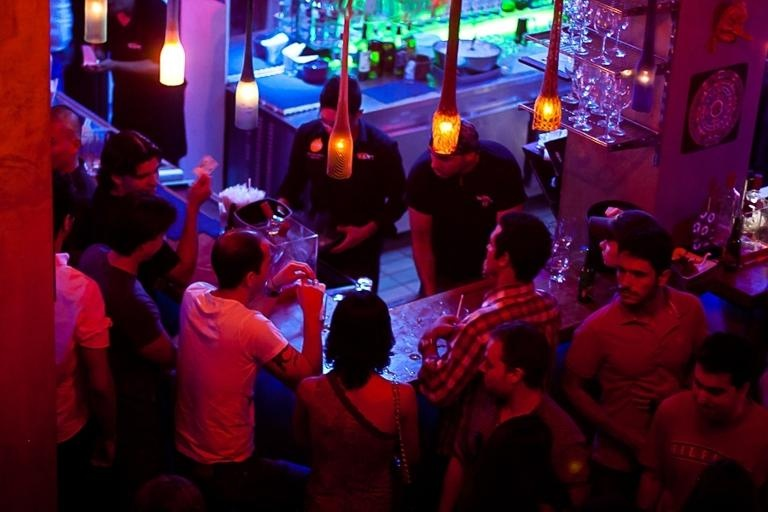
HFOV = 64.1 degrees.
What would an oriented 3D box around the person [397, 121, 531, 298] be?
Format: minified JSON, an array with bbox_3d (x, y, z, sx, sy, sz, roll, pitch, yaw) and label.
[{"bbox_3d":[0.601,-0.377,4.559,0.854,1.580,0.781,5,43,11],"label":"person"}]

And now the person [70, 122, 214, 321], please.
[{"bbox_3d":[-1.578,-0.063,4.088,0.906,1.529,0.657,1,30,-12],"label":"person"}]

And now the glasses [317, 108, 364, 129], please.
[{"bbox_3d":[-0.373,-1.009,4.372,0.203,0.077,0.212,0,44,-8],"label":"glasses"}]

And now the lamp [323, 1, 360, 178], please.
[{"bbox_3d":[-0.220,-0.813,2.983,0.140,0.862,0.360,-2,13,-4],"label":"lamp"}]
